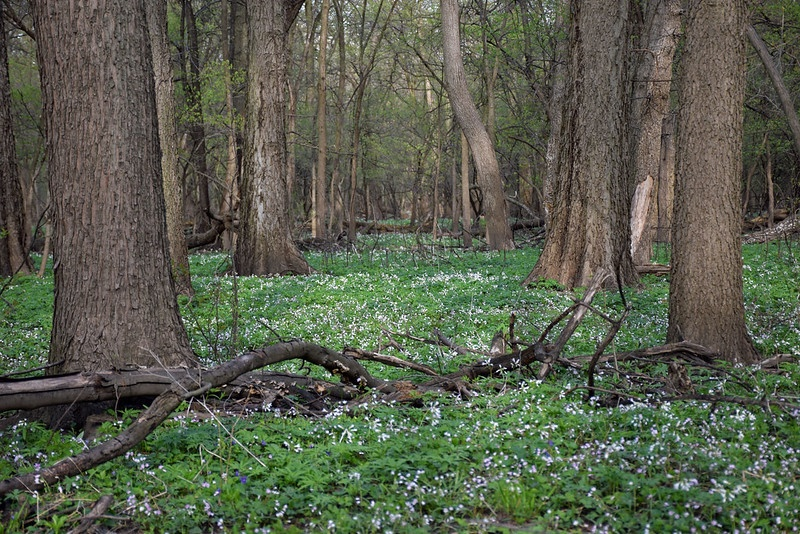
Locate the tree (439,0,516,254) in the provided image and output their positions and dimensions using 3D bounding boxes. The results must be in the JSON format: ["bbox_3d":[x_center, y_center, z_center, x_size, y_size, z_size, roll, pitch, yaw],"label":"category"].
[{"bbox_3d":[2.689,-4.599,25.066,2.290,8.074,6.165,0,4,24],"label":"tree"}]
